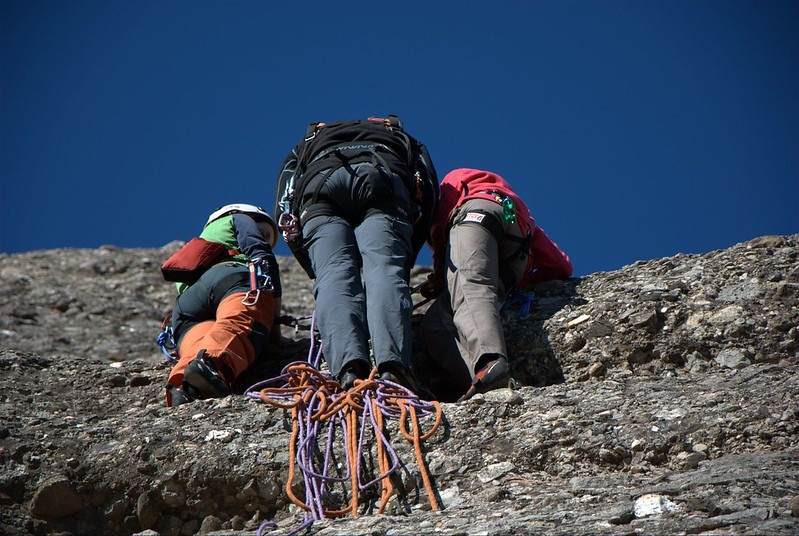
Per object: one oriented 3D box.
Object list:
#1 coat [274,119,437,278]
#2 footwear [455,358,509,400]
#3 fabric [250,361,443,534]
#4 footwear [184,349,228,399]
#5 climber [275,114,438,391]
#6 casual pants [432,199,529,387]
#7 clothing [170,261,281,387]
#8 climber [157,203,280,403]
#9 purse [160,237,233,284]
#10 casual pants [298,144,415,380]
[{"bbox_3d":[-0.456,-0.781,13.265,1.621,1.821,1.148,-2,-57,-1],"label":"coat"},{"bbox_3d":[0.771,1.002,11.879,0.238,0.601,0.215,43,-50,4],"label":"footwear"},{"bbox_3d":[-0.414,1.466,11.248,1.461,1.744,0.582,-2,-33,-6],"label":"fabric"},{"bbox_3d":[-1.751,0.983,12.105,0.219,0.256,0.556,-29,-62,12],"label":"footwear"},{"bbox_3d":[-0.421,-0.131,12.822,1.586,3.166,1.379,-1,-40,-5],"label":"climber"},{"bbox_3d":[0.763,0.261,12.616,0.641,1.637,0.692,8,-64,7],"label":"casual pants"},{"bbox_3d":[-1.689,0.535,12.849,0.595,1.144,0.569,-32,-75,12],"label":"clothing"},{"bbox_3d":[-1.696,0.462,12.817,0.894,1.798,0.831,-32,-63,15],"label":"climber"},{"bbox_3d":[-1.967,-0.044,13.222,0.319,0.423,0.137,13,-45,41],"label":"purse"},{"bbox_3d":[-0.373,0.085,12.468,1.163,2.569,0.830,-5,-40,-3],"label":"casual pants"}]
